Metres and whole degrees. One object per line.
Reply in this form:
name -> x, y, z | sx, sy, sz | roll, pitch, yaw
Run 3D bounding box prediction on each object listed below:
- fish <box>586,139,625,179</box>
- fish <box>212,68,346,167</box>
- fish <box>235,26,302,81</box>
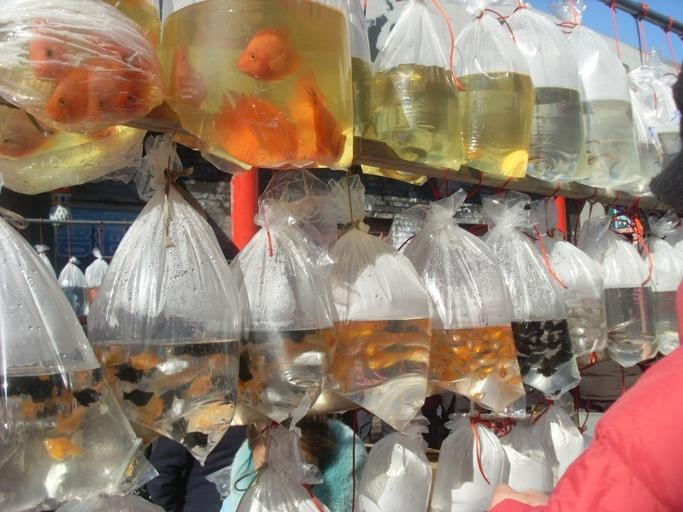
fish -> 0.689, -0.259, 1.754 | 0.085, 0.119, 0.099 | -2, -6, 2
fish -> -0.104, -0.219, 1.073 | 0.157, 0.166, 0.081 | 5, 1, -2
fish -> -0.122, -0.349, 1.123 | 0.121, 0.090, 0.051 | -16, 23, -8
